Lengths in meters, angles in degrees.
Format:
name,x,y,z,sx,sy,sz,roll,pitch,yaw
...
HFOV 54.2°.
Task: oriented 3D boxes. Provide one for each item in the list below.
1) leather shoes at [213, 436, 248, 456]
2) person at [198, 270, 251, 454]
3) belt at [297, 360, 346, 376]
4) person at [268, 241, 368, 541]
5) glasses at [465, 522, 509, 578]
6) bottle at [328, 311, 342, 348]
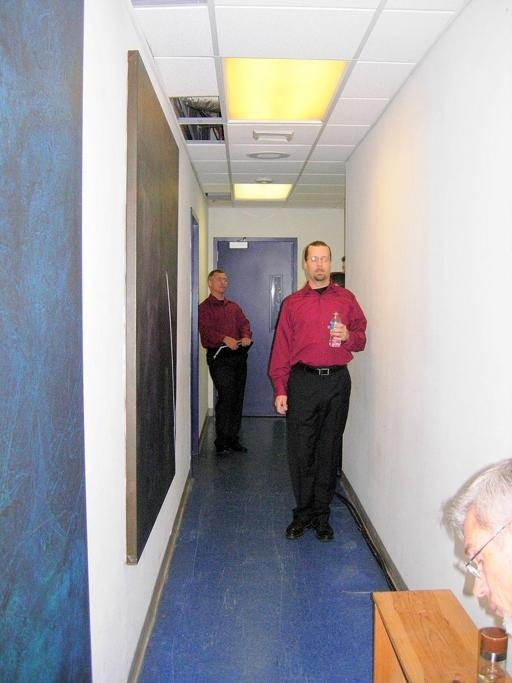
name,x,y,z,sx,sy,sz,roll,pitch,yaw
leather shoes,-0.240,0.996,4.808,0.327,0.202,0.124,-4,7,-13
person,-0.294,0.191,4.761,0.510,1.720,0.524,0,3,-9
belt,0.363,0.163,2.879,0.270,0.070,0.090,1,3,5
person,0.347,0.303,2.950,0.559,1.749,0.383,1,3,16
glasses,0.350,0.311,0.752,0.070,0.022,0.072,-44,-25,-3
bottle,0.440,-0.058,2.783,0.073,0.194,0.259,1,3,10
